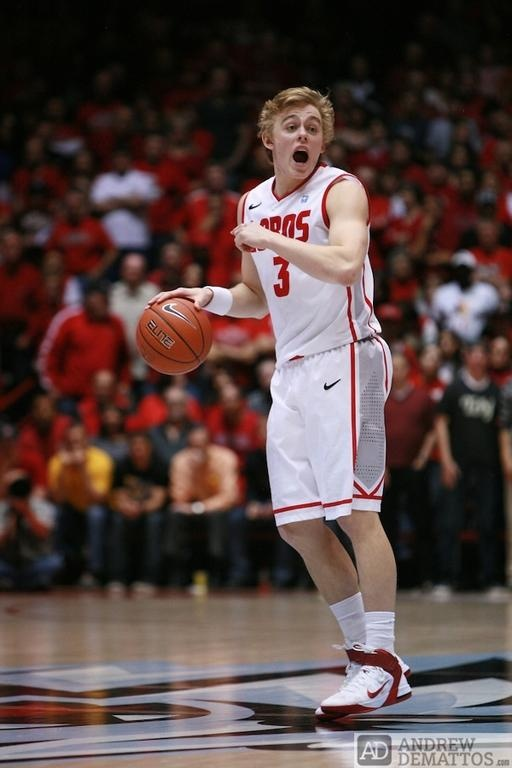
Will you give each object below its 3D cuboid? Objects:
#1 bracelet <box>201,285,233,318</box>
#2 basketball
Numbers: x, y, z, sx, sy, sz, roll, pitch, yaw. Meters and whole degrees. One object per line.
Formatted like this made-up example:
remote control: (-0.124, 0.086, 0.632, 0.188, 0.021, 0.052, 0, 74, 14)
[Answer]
bracelet: (-0.123, -0.265, 2.746, 0.079, 0.070, 0.096, 18, -17, 0)
basketball: (-0.242, -0.153, 2.711, 0.257, 0.251, 0.237, -3, 0, -29)
